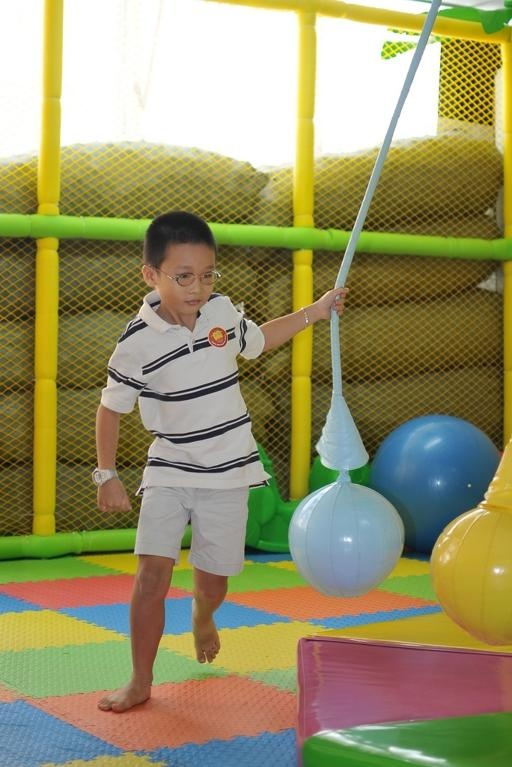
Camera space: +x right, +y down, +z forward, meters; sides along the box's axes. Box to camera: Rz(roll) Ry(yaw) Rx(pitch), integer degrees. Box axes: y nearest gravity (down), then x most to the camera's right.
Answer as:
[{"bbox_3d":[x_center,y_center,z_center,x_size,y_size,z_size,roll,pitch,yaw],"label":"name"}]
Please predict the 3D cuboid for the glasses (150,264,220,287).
[{"bbox_3d":[-0.131,-0.224,1.541,0.130,0.039,0.069,-6,-2,-24],"label":"glasses"}]

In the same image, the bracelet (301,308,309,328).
[{"bbox_3d":[0.120,-0.153,1.702,0.010,0.030,0.034,-23,-39,35],"label":"bracelet"}]

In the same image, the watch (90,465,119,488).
[{"bbox_3d":[-0.322,0.200,1.589,0.072,0.042,0.071,4,-16,-32],"label":"watch"}]
